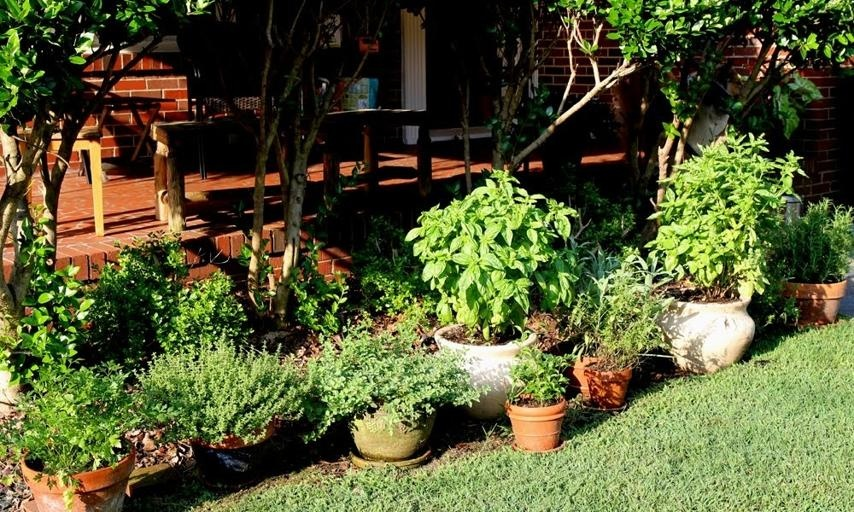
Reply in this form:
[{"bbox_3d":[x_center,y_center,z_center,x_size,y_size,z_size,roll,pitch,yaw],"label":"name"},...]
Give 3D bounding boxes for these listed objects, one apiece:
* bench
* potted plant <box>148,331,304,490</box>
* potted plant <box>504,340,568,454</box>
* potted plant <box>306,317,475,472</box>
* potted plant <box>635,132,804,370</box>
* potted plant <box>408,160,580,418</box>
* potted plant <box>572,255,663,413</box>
[{"bbox_3d":[-1.734,-1.213,8.147,2.489,0.850,0.761,-4,7,-18],"label":"bench"},{"bbox_3d":[-1.521,1.116,5.358,1.025,0.809,1.091,13,16,31],"label":"potted plant"},{"bbox_3d":[0.890,1.135,5.874,0.500,0.779,0.566,1,11,32],"label":"potted plant"},{"bbox_3d":[-0.456,1.030,5.978,1.060,0.801,1.086,-1,4,-16],"label":"potted plant"},{"bbox_3d":[2.914,-0.079,7.068,1.291,2.165,1.471,1,11,29],"label":"potted plant"},{"bbox_3d":[0.480,0.307,6.801,1.878,2.643,1.916,1,-1,-7],"label":"potted plant"},{"bbox_3d":[1.773,0.640,6.595,0.781,1.228,1.091,1,11,28],"label":"potted plant"}]
